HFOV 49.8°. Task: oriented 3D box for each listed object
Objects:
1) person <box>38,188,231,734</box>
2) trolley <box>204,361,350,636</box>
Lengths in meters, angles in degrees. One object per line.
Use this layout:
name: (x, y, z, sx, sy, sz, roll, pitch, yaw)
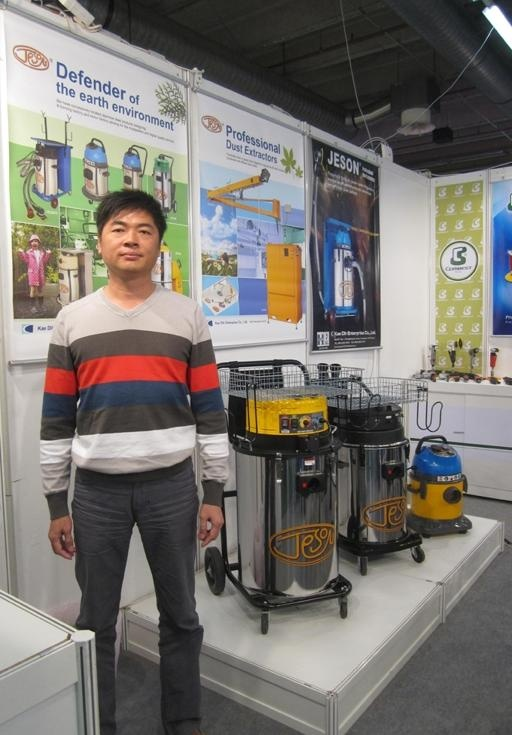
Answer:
person: (-0.333, 0.274, 1.566, 0.514, 1.563, 0.275, -2, 2, -23)
trolley: (0.114, 0.490, 2.355, 0.599, 1.004, 0.621, -3, 5, -43)
